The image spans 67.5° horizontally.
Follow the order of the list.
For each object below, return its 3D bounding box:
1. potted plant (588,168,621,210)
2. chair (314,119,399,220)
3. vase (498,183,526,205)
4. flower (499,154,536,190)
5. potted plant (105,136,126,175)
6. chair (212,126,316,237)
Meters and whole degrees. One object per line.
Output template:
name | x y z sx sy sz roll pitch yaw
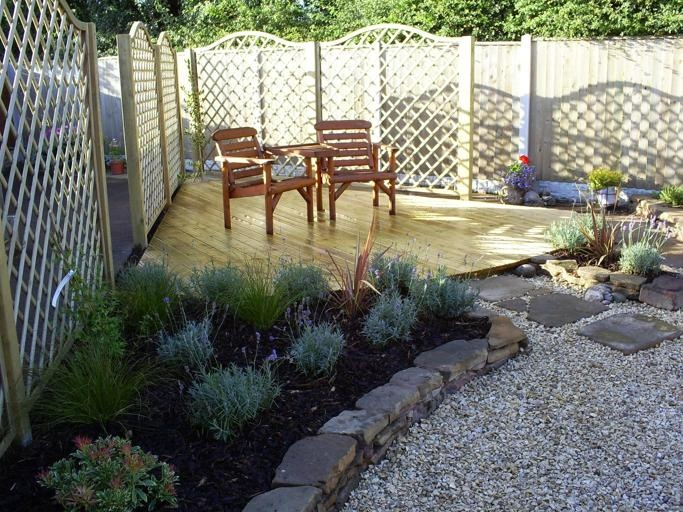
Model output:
potted plant | 3.291 -0.851 6.437 0.371 0.501 0.255 4 13 18
chair | 0.133 -1.003 5.734 0.839 1.121 0.806 -9 15 -26
vase | 2.341 -0.851 7.125 0.303 0.343 0.114 22 19 40
flower | 2.434 -1.164 7.191 0.421 0.556 0.477 0 20 -1
potted plant | -4.191 -1.871 9.480 0.320 0.595 1.249 -5 14 -23
chair | -0.797 -0.848 5.373 0.948 1.059 1.073 -11 17 -29
